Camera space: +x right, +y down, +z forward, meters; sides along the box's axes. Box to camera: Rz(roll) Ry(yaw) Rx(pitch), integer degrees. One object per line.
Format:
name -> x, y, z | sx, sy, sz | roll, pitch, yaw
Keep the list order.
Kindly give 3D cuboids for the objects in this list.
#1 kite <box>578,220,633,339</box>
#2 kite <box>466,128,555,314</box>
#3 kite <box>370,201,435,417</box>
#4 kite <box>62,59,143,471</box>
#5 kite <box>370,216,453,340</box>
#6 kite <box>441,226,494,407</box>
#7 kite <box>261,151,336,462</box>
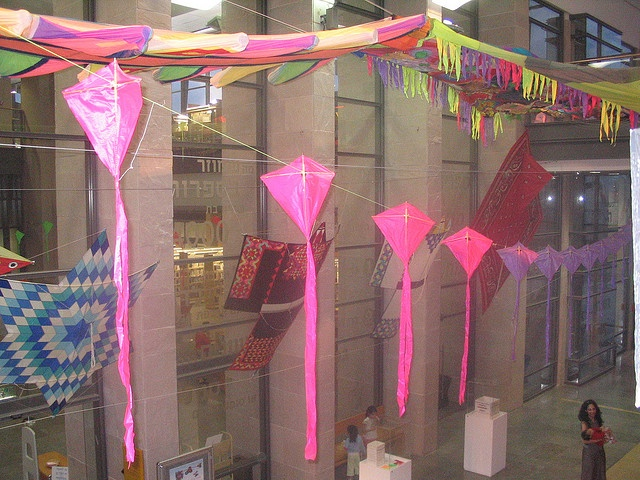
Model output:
kite -> 5.359, 0.734, 12.688 | 0.145, 1.583, 1.935 | 8, 23, 39
kite -> 2.863, -0.359, 10.231 | 0.461, 3.253, 1.644 | 1, -30, 43
kite -> 0.969, 0.758, 7.752 | 0.583, 2.144, 0.592 | 2, -7, 7
kite -> -1.573, 0.279, 5.240 | 0.576, 3.135, 0.652 | -1, 5, 24
kite -> 1.074, 0.399, 8.314 | 0.822, 0.317, 2.803 | -3, 23, 17
kite -> 2.005, 1.131, 9.362 | 0.561, 2.704, 1.516 | 6, 10, 21
kite -> -0.242, 0.845, 6.908 | 0.599, 3.437, 1.126 | 3, 9, 0
